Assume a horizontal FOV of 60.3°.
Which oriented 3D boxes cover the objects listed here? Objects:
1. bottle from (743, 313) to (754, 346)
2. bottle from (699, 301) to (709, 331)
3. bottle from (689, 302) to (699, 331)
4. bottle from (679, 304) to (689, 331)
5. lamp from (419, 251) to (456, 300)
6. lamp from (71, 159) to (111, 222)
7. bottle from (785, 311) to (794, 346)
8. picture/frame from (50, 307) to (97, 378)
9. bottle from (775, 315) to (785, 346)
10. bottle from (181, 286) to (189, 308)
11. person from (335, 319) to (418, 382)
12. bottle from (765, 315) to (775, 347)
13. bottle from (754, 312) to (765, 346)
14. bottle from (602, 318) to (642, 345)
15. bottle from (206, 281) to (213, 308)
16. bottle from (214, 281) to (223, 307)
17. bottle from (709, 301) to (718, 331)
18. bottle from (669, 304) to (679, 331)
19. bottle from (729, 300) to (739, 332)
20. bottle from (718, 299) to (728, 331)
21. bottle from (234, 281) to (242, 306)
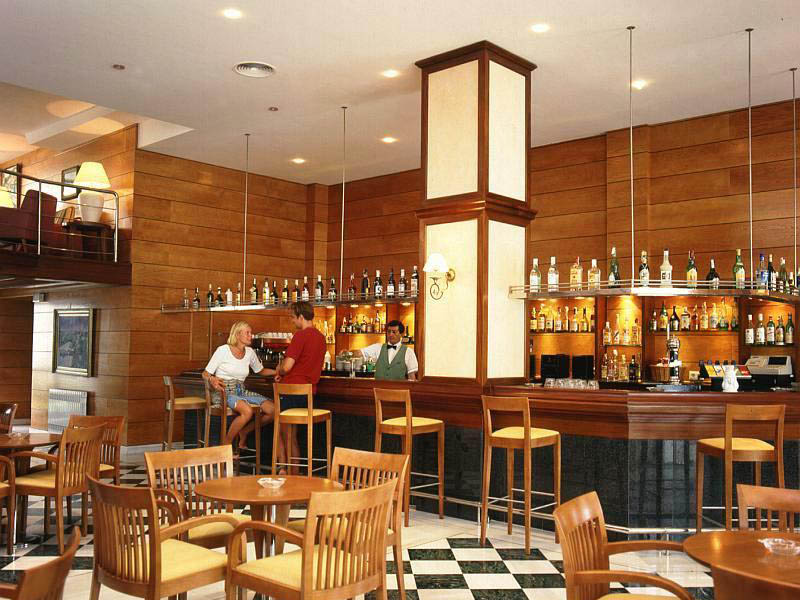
[{"bbox_3d":[4.257,0.344,8.384,0.088,0.367,0.265,-4,-6,40],"label":"bottle"},{"bbox_3d":[3.833,0.187,8.683,0.102,0.369,0.103,0,-5,0],"label":"bottle"},{"bbox_3d":[3.744,0.223,8.764,0.094,0.322,0.074,-2,-5,24],"label":"bottle"},{"bbox_3d":[3.644,0.229,8.800,0.103,0.294,0.078,-2,-5,21],"label":"bottle"},{"bbox_3d":[0.353,-0.243,7.291,0.280,0.465,0.388,4,-6,-40],"label":"lamp"},{"bbox_3d":[-4.933,-1.735,10.974,0.615,0.928,0.590,-1,2,-30],"label":"lamp"},{"bbox_3d":[4.662,0.341,8.244,0.096,0.358,0.084,-2,-5,23],"label":"bottle"},{"bbox_3d":[-5.458,0.722,11.536,1.306,1.217,0.112,-1,-2,41],"label":"picture/frame"},{"bbox_3d":[4.588,0.340,8.326,0.104,0.293,0.020,-4,-6,42],"label":"bottle"},{"bbox_3d":[-3.467,-0.063,11.094,0.108,0.302,0.139,2,-5,-19],"label":"bottle"},{"bbox_3d":[-0.303,0.685,9.522,0.779,0.972,0.305,-2,-16,11],"label":"person"},{"bbox_3d":[4.492,0.364,8.351,0.096,0.344,0.087,-3,-5,30],"label":"bottle"},{"bbox_3d":[4.401,0.338,8.403,0.101,0.385,0.110,0,-5,0],"label":"bottle"},{"bbox_3d":[2.942,0.419,9.092,0.360,0.310,0.116,-5,-9,43],"label":"bottle"},{"bbox_3d":[-3.120,-0.118,11.266,0.127,0.382,0.404,1,-5,-16],"label":"bottle"},{"bbox_3d":[-2.992,-0.120,11.366,0.152,0.355,0.388,1,-5,-15],"label":"bottle"},{"bbox_3d":[3.930,0.186,8.625,0.094,0.327,0.073,-2,-5,28],"label":"bottle"},{"bbox_3d":[3.528,0.226,8.847,0.114,0.324,0.054,-2,-5,28],"label":"bottle"},{"bbox_3d":[4.089,0.177,8.409,0.069,0.376,0.304,-1,-5,16],"label":"bottle"},{"bbox_3d":[4.025,0.185,8.580,0.090,0.364,0.063,-2,-5,25],"label":"bottle"},{"bbox_3d":[-2.673,-0.154,11.344,0.129,0.423,0.915,1,-5,-14],"label":"bottle"}]
